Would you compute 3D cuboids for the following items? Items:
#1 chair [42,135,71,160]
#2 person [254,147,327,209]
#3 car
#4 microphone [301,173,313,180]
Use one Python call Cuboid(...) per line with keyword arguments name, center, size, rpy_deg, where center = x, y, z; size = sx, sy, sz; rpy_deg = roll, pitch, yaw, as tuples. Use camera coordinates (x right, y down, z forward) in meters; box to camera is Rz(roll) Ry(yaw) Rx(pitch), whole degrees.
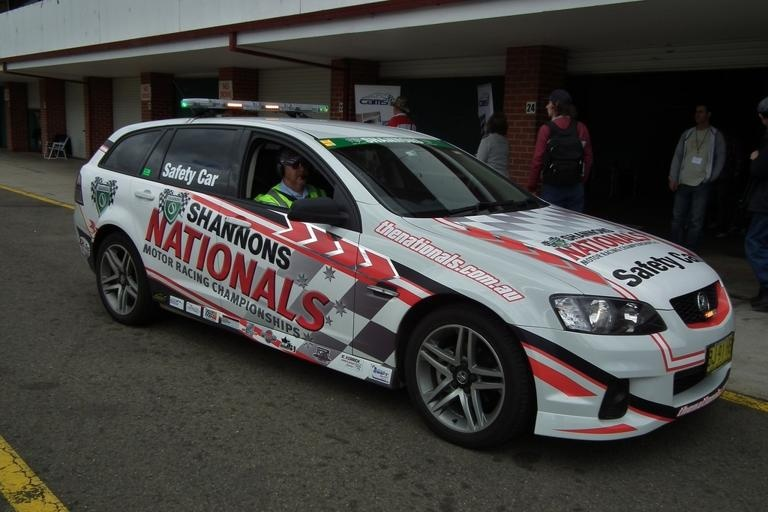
Cuboid(name="chair", center=(-17.475, -5.862, 27.910), size=(1.322, 1.123, 1.229), rpy_deg=(-1, 18, -13))
Cuboid(name="person", center=(-0.851, -0.715, 4.862), size=(0.850, 0.526, 0.355), rpy_deg=(-15, 20, -41))
Cuboid(name="car", center=(-0.493, -0.150, 4.904), size=(5.931, 1.632, 2.640), rpy_deg=(12, 16, 35))
Cuboid(name="microphone", center=(-0.723, -0.747, 4.905), size=(0.069, 0.046, 0.085), rpy_deg=(3, 3, 8))
